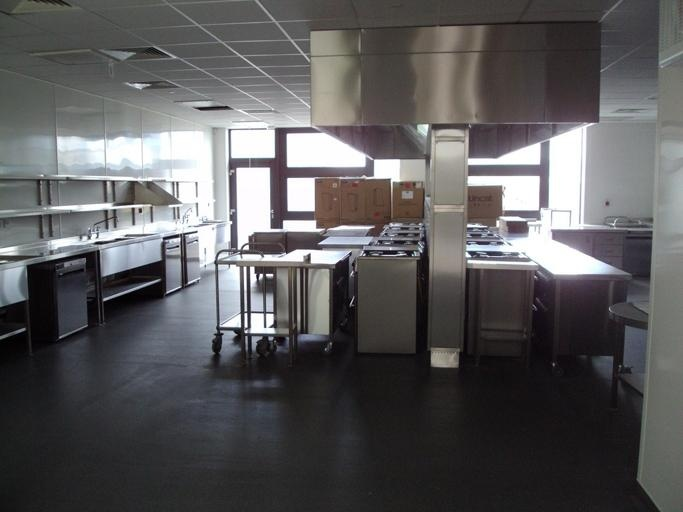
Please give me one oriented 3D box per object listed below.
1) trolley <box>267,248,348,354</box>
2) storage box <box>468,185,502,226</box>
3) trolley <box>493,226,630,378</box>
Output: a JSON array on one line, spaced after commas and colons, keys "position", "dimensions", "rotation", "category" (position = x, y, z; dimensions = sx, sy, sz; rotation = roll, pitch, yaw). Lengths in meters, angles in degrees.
[{"position": [-0.294, 0.445, 5.434], "dimensions": [0.576, 0.996, 1.133], "rotation": [1, 7, 20], "category": "trolley"}, {"position": [2.415, -0.849, 8.718], "dimensions": [0.557, 0.674, 0.155], "rotation": [0, 7, 12], "category": "storage box"}, {"position": [2.105, 0.384, 5.798], "dimensions": [0.688, 0.907, 2.204], "rotation": [-1, 11, -4], "category": "trolley"}]
